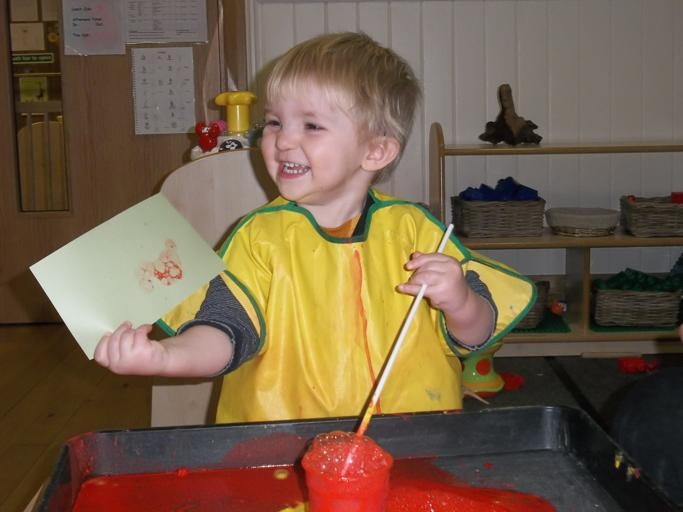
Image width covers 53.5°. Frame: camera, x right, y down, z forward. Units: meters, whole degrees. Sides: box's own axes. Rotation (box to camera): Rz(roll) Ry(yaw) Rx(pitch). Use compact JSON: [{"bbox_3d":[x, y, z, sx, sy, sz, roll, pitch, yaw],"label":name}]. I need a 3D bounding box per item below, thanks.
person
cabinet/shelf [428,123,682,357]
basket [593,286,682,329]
[{"bbox_3d":[-0.042,-0.037,1.205,0.779,0.713,0.402,-6,15,-25],"label":"person"},{"bbox_3d":[0.800,-0.090,2.431,0.829,0.805,0.379,-1,1,-3],"label":"cabinet/shelf"},{"bbox_3d":[1.135,0.204,2.618,0.212,0.117,0.168,1,0,5],"label":"basket"}]
